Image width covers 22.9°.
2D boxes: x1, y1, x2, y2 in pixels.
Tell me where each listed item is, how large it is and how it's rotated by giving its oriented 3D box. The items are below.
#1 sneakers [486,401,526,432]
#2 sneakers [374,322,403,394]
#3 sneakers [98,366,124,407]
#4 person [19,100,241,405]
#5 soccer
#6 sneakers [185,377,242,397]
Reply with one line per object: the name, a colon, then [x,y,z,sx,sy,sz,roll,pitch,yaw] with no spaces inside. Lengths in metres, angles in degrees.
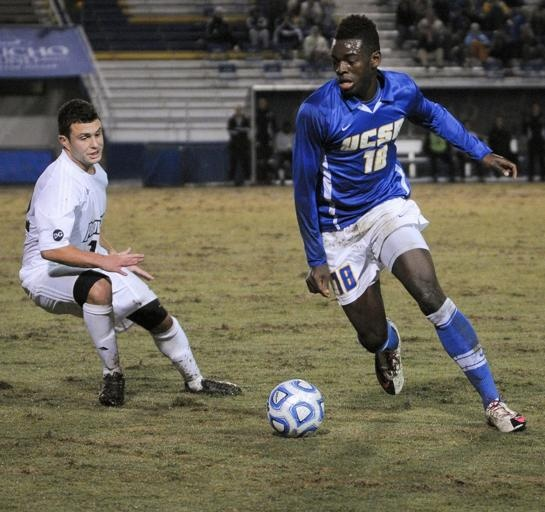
sneakers: [1.853,1.271,10.664,0.179,0.160,0.355,-22,8,-29]
sneakers: [1.035,0.865,11.419,0.220,0.622,0.257,-7,-2,17]
sneakers: [-1.332,1.108,11.343,0.163,0.191,0.429,-4,18,3]
person: [-1.401,-0.034,11.219,1.485,2.467,0.720,-1,15,-1]
soccer: [0.184,1.214,10.885,0.442,0.418,0.408,5,1,-8]
sneakers: [-0.481,1.119,11.531,0.520,0.193,0.173,-2,-1,3]
